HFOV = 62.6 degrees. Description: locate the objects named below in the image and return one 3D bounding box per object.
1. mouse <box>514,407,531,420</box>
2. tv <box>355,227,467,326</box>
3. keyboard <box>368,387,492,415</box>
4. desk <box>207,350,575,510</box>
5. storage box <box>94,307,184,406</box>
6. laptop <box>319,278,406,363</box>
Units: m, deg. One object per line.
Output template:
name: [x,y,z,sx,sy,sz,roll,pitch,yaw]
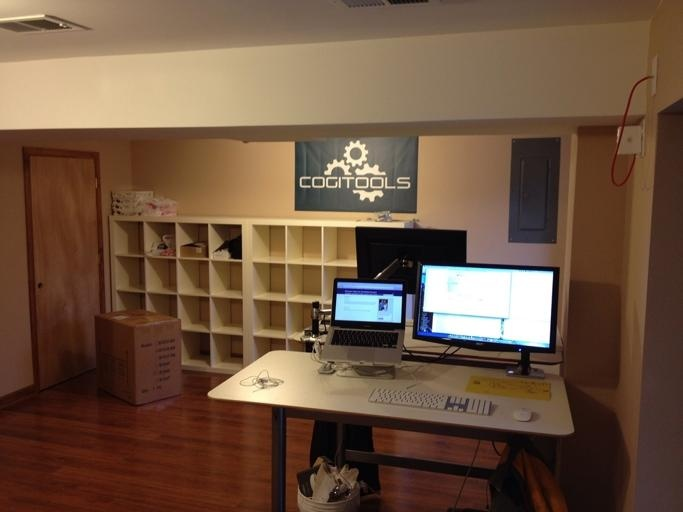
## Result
mouse: [0.969,0.846,3.009,0.090,0.040,0.087,9,16,37]
tv: [0.462,0.130,3.665,0.607,0.631,0.218,3,8,17]
keyboard: [0.504,0.811,3.161,0.701,0.037,0.165,3,13,12]
desk: [0.287,0.849,3.233,1.873,0.953,0.977,5,15,18]
storage box: [-2.072,0.997,5.720,0.752,0.755,0.548,6,6,37]
laptop: [0.148,0.398,3.537,0.481,0.355,0.499,3,24,12]
